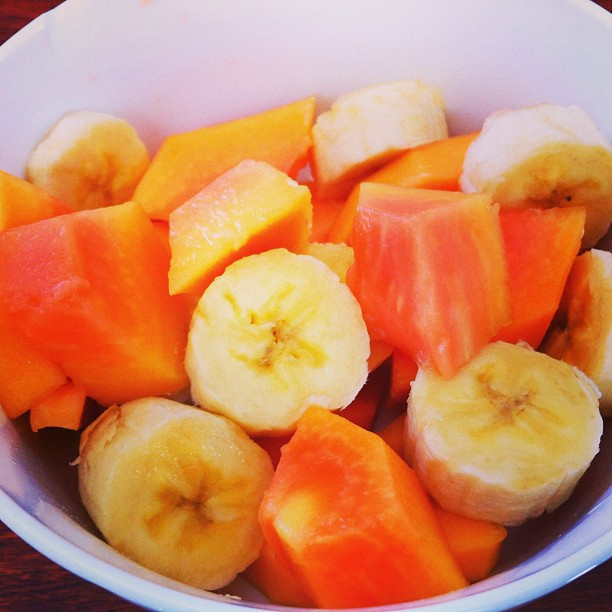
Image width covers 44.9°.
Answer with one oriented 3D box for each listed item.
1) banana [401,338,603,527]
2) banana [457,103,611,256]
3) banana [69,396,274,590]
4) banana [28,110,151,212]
[{"bbox_3d":[0.223,0.140,0.848,0.213,0.108,0.207,3,50,6],"label":"banana"},{"bbox_3d":[0.318,-0.176,0.969,0.208,0.145,0.140,23,58,20],"label":"banana"},{"bbox_3d":[-0.154,0.203,0.843,0.239,0.120,0.185,28,58,24],"label":"banana"},{"bbox_3d":[-0.297,-0.198,1.018,0.098,0.109,0.147,30,59,23],"label":"banana"}]
